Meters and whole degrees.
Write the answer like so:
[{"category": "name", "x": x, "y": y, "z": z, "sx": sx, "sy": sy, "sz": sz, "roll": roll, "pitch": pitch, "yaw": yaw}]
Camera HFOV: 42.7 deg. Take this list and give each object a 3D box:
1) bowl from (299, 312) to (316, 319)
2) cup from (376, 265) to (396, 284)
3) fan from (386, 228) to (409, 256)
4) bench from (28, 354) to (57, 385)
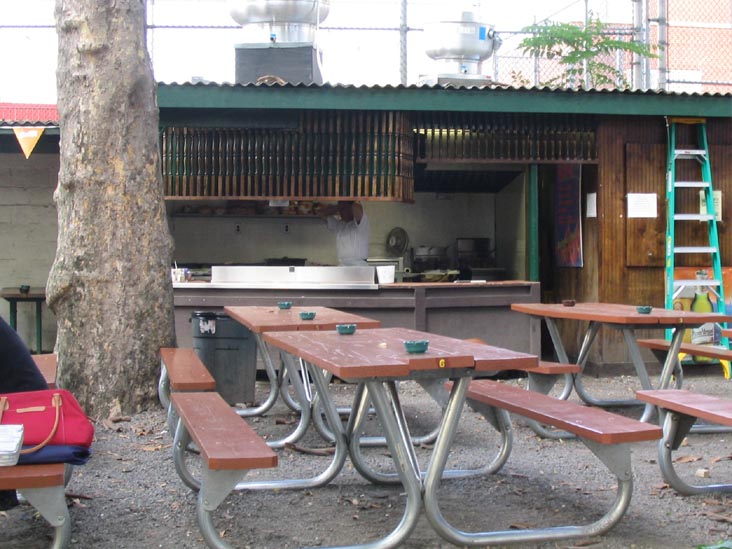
[{"category": "bowl", "x": -0.494, "y": 0.348, "z": 7.924, "sx": 0.118, "sy": 0.070, "sz": 0.130, "roll": -2, "pitch": 6, "yaw": -9}, {"category": "cup", "x": 0.217, "y": 0.004, "z": 10.537, "sx": 0.167, "sy": 0.200, "sz": 0.199, "roll": 1, "pitch": -3, "yaw": 2}, {"category": "fan", "x": 0.500, "y": -0.516, "z": 14.792, "sx": 0.377, "sy": 0.452, "sz": 0.202, "roll": -1, "pitch": 6, "yaw": -1}, {"category": "bench", "x": -2.727, "y": 0.778, "z": 7.905, "sx": 0.270, "sy": 0.098, "sz": 0.399, "roll": 1, "pitch": 2, "yaw": -24}]
